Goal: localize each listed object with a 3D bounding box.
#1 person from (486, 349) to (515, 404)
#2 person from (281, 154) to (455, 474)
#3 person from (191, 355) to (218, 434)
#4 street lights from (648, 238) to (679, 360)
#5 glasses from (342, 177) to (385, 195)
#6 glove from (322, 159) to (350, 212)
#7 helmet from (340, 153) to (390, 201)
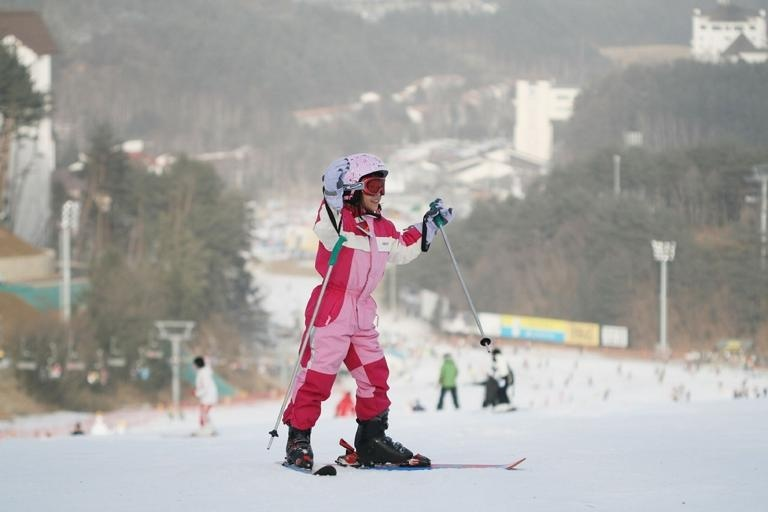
[{"bbox_3d":[1.553,1.603,24.445,0.357,0.746,1.130,1,-3,4],"label":"person"},{"bbox_3d":[-0.244,0.609,20.223,1.533,3.330,0.481,1,-2,-5],"label":"person"},{"bbox_3d":[-2.042,1.650,22.010,0.253,0.881,0.398,1,-2,-6],"label":"person"},{"bbox_3d":[3.480,0.545,23.306,0.313,1.433,0.103,1,-2,6],"label":"street lights"},{"bbox_3d":[-0.129,-0.682,20.216,0.299,0.108,0.232,-5,-4,33],"label":"glasses"},{"bbox_3d":[-0.484,-0.729,20.121,0.204,0.490,0.368,2,11,0],"label":"glove"},{"bbox_3d":[-0.211,-0.819,20.188,0.515,0.388,0.376,-2,7,17],"label":"helmet"}]
